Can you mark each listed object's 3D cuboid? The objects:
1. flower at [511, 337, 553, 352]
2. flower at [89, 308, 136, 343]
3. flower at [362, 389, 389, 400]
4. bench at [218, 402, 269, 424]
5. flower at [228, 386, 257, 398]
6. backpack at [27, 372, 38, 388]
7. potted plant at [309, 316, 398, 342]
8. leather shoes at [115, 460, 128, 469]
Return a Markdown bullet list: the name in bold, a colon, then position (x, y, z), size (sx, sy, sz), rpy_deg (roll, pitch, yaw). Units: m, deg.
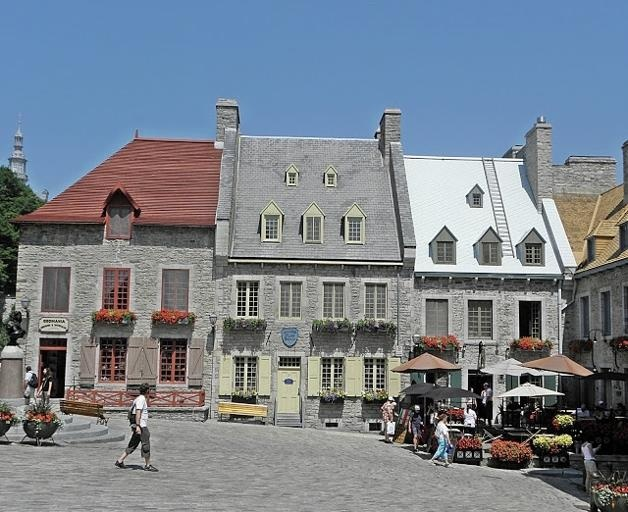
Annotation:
- **flower**: position (9.304, 3.790, 52.274), size (1.779, 0.622, 0.441), rpy_deg (1, 12, -8)
- **flower**: position (-8.410, 2.832, 51.134), size (1.843, 1.257, 0.481), rpy_deg (1, 12, -9)
- **flower**: position (2.570, 5.826, 51.185), size (1.094, 0.409, 0.436), rpy_deg (2, 12, -5)
- **bench**: position (-2.994, 6.401, 50.355), size (2.035, 0.980, 1.261), rpy_deg (3, 12, 1)
- **flower**: position (-2.915, 5.640, 50.961), size (0.716, 0.197, 0.482), rpy_deg (-2, -3, 5)
- **backpack**: position (-10.750, 4.695, 46.496), size (0.272, 0.616, 0.453), rpy_deg (3, 12, -4)
- **potted plant**: position (1.688, 3.011, 51.581), size (3.568, 0.797, 0.382), rpy_deg (2, 12, -6)
- **leather shoes**: position (-5.751, 6.204, 36.486), size (0.383, 0.147, 0.178), rpy_deg (10, 3, -34)
